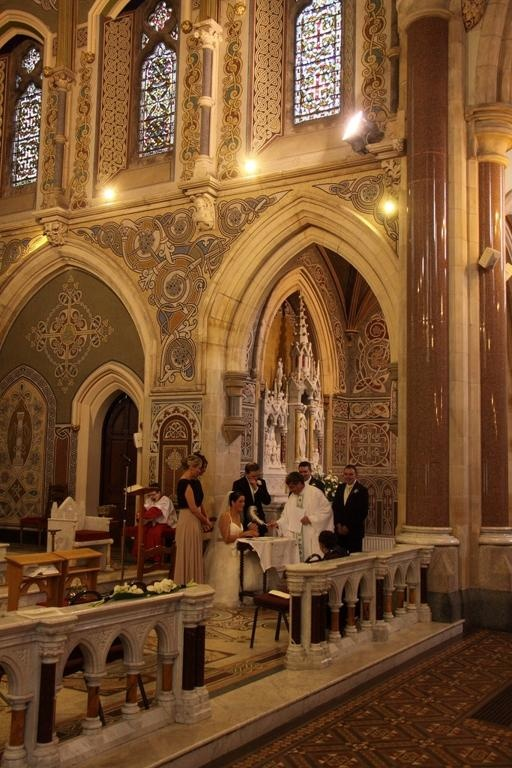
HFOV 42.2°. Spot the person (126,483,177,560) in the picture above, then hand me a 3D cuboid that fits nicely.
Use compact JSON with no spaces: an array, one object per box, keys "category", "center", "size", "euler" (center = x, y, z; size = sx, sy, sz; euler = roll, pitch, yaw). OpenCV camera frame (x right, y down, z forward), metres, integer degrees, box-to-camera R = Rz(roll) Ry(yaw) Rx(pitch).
[{"category":"person","center":[-1.381,1.847,8.880],"size":[0.589,1.082,0.593],"euler":[1,-15,-6]}]

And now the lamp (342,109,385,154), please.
[{"category":"lamp","center":[1.343,-3.089,8.167],"size":[0.304,0.430,0.576],"euler":[29,-12,18]}]

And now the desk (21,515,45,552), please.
[{"category":"desk","center":[-3.654,2.458,10.926],"size":[0.344,0.527,0.342],"euler":[-6,-29,10]}]

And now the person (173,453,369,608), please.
[{"category":"person","center":[-0.068,1.666,7.144],"size":[1.540,1.178,1.616],"euler":[11,-5,-3]}]
